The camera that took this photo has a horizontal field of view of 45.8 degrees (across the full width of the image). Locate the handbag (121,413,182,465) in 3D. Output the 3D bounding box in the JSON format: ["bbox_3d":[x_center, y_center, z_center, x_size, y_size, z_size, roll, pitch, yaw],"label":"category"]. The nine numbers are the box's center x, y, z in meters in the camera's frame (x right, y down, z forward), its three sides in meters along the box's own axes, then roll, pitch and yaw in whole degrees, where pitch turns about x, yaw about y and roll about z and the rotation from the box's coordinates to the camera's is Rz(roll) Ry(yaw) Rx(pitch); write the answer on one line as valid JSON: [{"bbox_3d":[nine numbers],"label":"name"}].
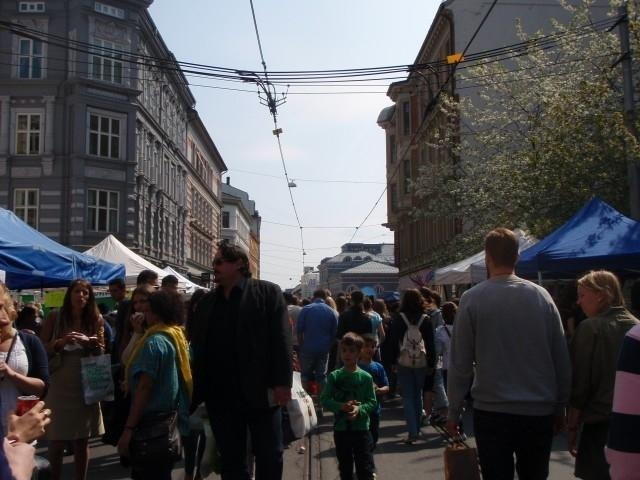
[{"bbox_3d":[-1.553,1.842,7.058,0.518,0.456,0.390,6,-18,-18],"label":"handbag"}]

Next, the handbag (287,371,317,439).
[{"bbox_3d":[-0.194,1.716,7.829,0.289,0.717,0.712,-1,-6,0],"label":"handbag"}]

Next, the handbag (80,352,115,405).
[{"bbox_3d":[-2.420,1.509,8.254,0.345,0.525,0.212,1,-7,-17],"label":"handbag"}]
